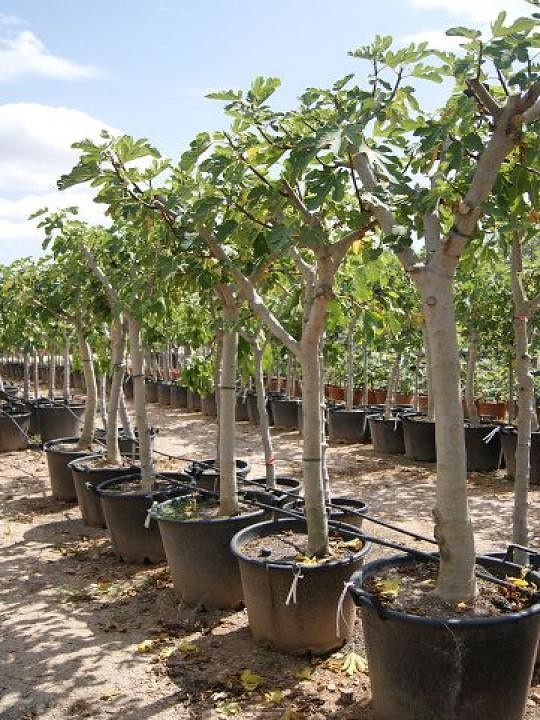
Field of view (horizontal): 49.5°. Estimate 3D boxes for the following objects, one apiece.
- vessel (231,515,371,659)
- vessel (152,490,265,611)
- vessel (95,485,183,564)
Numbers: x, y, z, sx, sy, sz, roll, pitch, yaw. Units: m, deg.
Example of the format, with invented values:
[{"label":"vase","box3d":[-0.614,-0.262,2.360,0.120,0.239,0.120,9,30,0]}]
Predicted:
[{"label":"vessel","box3d":[0.218,1.167,3.167,0.696,0.465,0.715,-9,-13,40]},{"label":"vessel","box3d":[-0.499,1.249,3.845,0.767,0.495,0.727,3,-4,-32]},{"label":"vessel","box3d":[-1.108,1.328,4.742,0.675,0.462,0.658,-2,-5,11]}]
